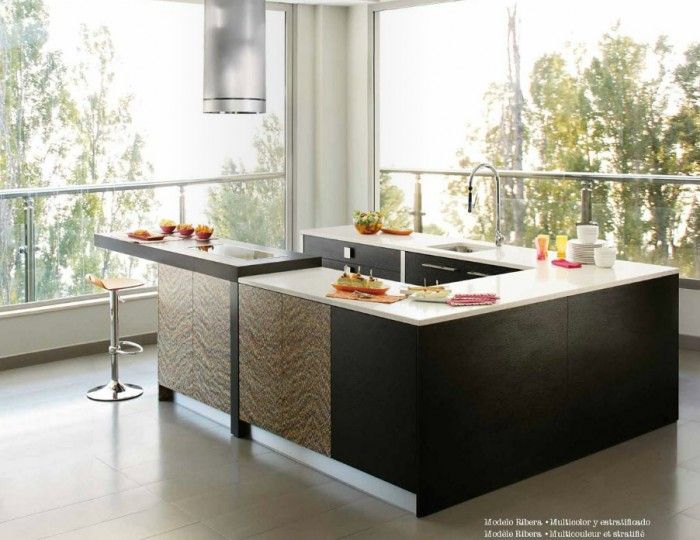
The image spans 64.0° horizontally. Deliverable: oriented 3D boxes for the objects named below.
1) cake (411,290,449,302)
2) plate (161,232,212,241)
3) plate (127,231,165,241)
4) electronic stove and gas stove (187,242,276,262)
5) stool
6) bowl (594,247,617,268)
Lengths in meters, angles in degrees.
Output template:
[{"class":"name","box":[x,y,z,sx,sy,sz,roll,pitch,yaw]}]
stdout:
[{"class":"cake","box":[0.393,0.130,2.763,0.197,0.045,0.096,-1,9,6]},{"class":"plate","box":[-1.273,-0.262,4.372,0.406,0.055,0.354,-4,9,-11]},{"class":"plate","box":[-1.589,-0.264,4.332,0.313,0.066,0.281,-3,9,-7]},{"class":"electronic stove and gas stove","box":[-0.835,-0.124,3.947,0.575,0.104,0.444,-3,9,-10]},{"class":"stool","box":[-1.805,0.488,4.284,0.475,0.912,0.557,-4,9,-10]},{"class":"bowl","box":[1.624,-0.089,3.578,0.124,0.138,0.138,2,10,23]}]
